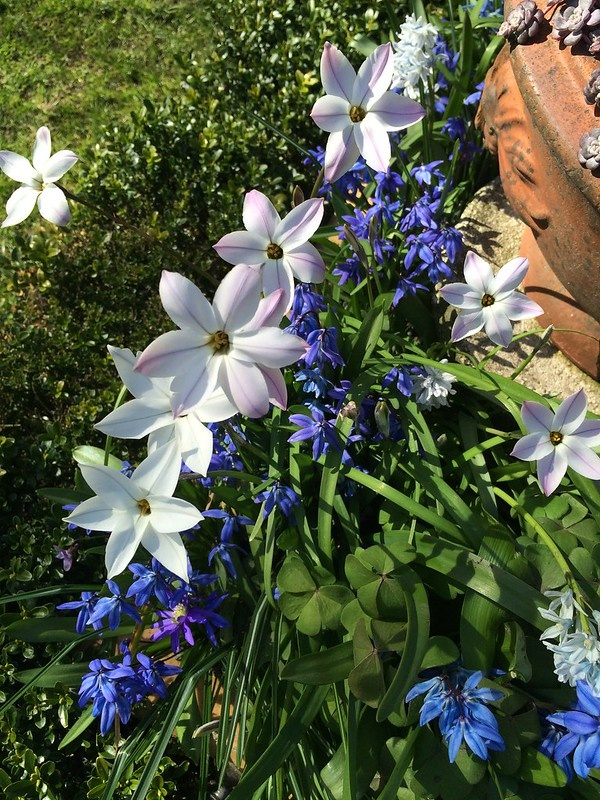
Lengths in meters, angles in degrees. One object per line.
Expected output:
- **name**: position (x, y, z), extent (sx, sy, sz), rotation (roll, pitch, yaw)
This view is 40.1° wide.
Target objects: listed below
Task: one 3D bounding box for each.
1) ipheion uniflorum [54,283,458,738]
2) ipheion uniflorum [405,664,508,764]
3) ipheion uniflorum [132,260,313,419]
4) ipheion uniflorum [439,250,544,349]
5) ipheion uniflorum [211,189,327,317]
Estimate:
- **ipheion uniflorum**: position (-0.203, 0.106, 1.646), extent (0.289, 0.684, 0.984), rotation (127, 164, -66)
- **ipheion uniflorum**: position (0.334, 0.642, 1.712), extent (0.235, 0.116, 0.203), rotation (-2, 52, 11)
- **ipheion uniflorum**: position (-0.150, -0.140, 1.430), extent (0.258, 0.243, 0.099), rotation (19, 97, 44)
- **ipheion uniflorum**: position (0.458, -0.268, 1.970), extent (0.243, 0.243, 0.064), rotation (-11, 75, 29)
- **ipheion uniflorum**: position (-0.058, -0.310, 1.635), extent (0.099, 0.236, 0.203), rotation (-5, 69, 35)
